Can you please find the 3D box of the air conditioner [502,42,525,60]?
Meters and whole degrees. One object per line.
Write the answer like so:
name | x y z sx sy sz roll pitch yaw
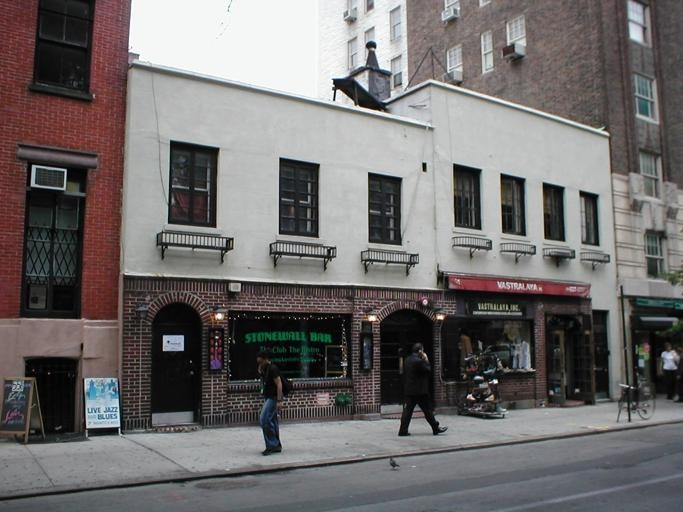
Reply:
air conditioner | 7.581 -8.959 32.964 0.591 0.738 0.968 1 -1 -34

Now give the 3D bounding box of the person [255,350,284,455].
person | -1.661 3.454 17.508 0.575 2.331 0.641 0 -9 -6

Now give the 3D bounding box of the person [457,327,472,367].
person | 4.191 3.094 24.939 0.267 1.293 0.644 -8 -12 38

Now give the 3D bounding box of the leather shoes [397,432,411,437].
leather shoes | 1.679 4.696 19.608 0.298 0.146 0.104 0 -1 -29

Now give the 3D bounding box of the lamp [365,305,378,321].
lamp | 0.904 1.786 23.089 0.395 0.522 0.409 1 -1 -13

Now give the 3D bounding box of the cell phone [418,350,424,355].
cell phone | 2.118 2.588 19.936 0.142 0.153 0.076 7 -6 -42

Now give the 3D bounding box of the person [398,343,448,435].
person | 2.096 3.532 19.866 0.929 2.451 1.031 -10 -13 41

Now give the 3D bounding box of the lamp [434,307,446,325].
lamp | 3.242 1.975 24.369 0.453 0.532 0.179 8 -13 -42

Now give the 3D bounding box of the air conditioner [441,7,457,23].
air conditioner | 5.394 -12.001 37.304 0.517 0.642 0.936 5 -12 -32

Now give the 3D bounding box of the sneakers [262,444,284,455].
sneakers | -1.608 4.552 17.412 0.452 0.213 0.162 12 -15 -34
